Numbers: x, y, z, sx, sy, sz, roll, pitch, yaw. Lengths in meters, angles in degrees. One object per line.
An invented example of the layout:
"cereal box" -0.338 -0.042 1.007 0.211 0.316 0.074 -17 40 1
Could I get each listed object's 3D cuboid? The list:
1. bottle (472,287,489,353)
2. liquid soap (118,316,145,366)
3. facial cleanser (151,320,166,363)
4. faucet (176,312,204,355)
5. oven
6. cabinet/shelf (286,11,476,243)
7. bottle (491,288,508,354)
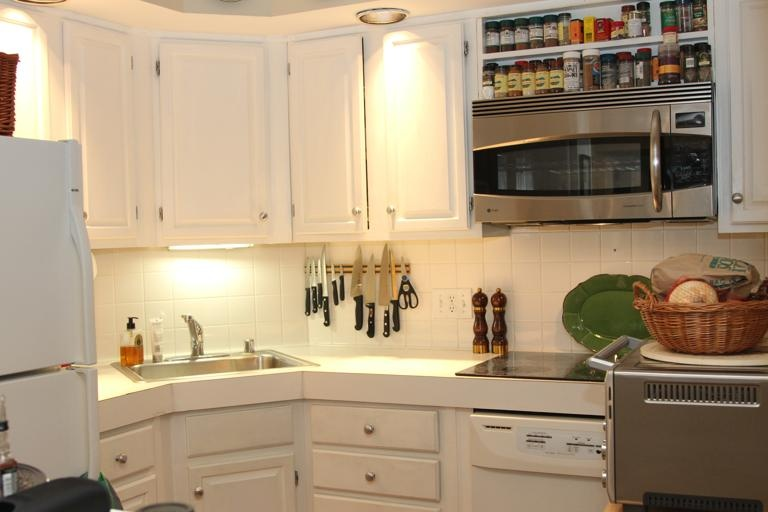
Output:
"bottle" 0.485 0.324 3.322 0.081 0.320 0.102 -2 4 8
"liquid soap" -1.284 0.422 3.305 0.117 0.234 0.175 -4 4 -21
"facial cleanser" -1.151 0.425 3.302 0.053 0.222 0.061 -4 4 -19
"faucet" -1.009 0.412 3.439 0.107 0.216 0.103 -4 4 -16
"oven" 0.984 -0.464 2.983 1.053 0.545 0.563 2 17 35
"cabinet/shelf" 0.017 -0.636 3.117 1.095 1.163 0.626 -1 -2 25
"bottle" 0.573 0.323 3.284 0.083 0.319 0.111 -2 4 9
